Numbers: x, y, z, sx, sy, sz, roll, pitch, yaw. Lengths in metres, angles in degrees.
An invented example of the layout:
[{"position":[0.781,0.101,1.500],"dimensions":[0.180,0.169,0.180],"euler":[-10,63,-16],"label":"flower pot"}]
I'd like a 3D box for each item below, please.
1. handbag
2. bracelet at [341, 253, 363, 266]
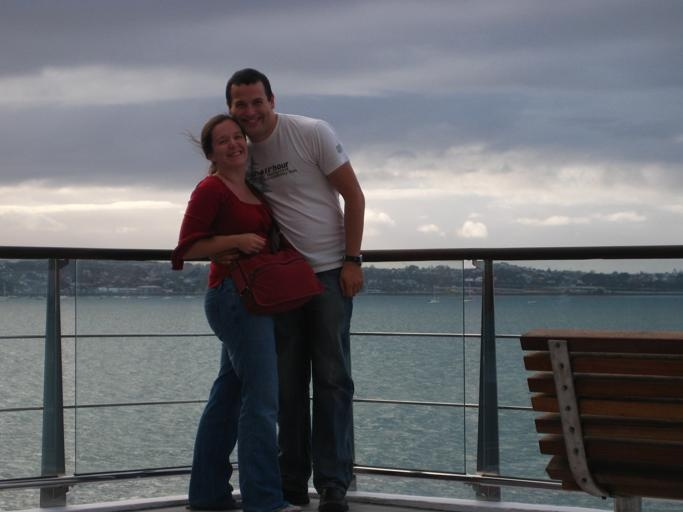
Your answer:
[{"position":[-0.314,0.125,4.002],"dimensions":[0.366,0.282,0.124],"euler":[-9,-11,-23],"label":"handbag"},{"position":[0.055,0.019,4.135],"dimensions":[0.077,0.048,0.077],"euler":[1,-1,0],"label":"bracelet"}]
